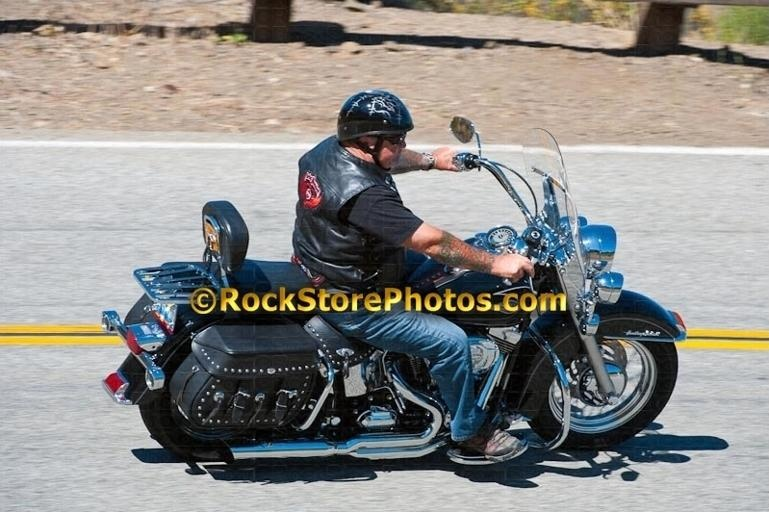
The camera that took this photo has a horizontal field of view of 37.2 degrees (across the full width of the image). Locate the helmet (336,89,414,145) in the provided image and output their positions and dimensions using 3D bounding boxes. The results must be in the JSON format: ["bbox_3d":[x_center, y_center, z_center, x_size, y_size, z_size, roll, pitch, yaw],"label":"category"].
[{"bbox_3d":[-0.022,-1.017,8.004,0.596,0.251,0.495,-15,26,-13],"label":"helmet"}]

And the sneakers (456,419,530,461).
[{"bbox_3d":[0.795,1.336,8.212,0.347,0.212,0.627,-8,-2,-37],"label":"sneakers"}]

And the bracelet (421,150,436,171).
[{"bbox_3d":[0.344,-0.715,8.601,0.131,0.100,0.061,6,6,7],"label":"bracelet"}]
